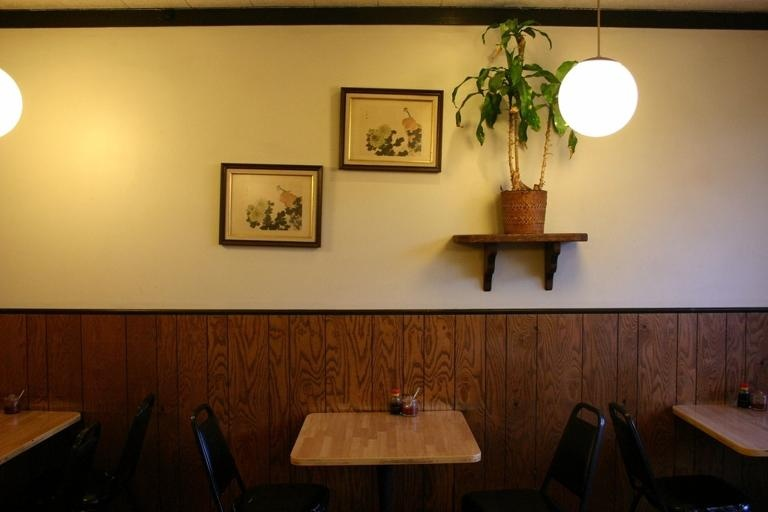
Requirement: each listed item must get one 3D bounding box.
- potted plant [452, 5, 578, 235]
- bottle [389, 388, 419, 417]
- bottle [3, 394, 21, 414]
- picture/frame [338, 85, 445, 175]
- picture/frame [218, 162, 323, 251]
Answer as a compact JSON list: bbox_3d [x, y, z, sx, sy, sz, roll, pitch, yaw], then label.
[{"bbox_3d":[0.935,-0.932,4.393,0.882,1.553,0.427,1,3,16],"label":"potted plant"},{"bbox_3d":[0.142,1.047,4.356,0.195,0.175,0.147,2,-4,-17],"label":"bottle"},{"bbox_3d":[-2.651,1.051,4.331,0.099,0.123,0.123,6,-7,-44],"label":"bottle"},{"bbox_3d":[0.047,-0.915,4.444,0.600,0.518,0.050,1,-1,-2],"label":"picture/frame"},{"bbox_3d":[-0.830,-0.368,4.446,0.583,0.505,0.049,1,-4,0],"label":"picture/frame"}]
